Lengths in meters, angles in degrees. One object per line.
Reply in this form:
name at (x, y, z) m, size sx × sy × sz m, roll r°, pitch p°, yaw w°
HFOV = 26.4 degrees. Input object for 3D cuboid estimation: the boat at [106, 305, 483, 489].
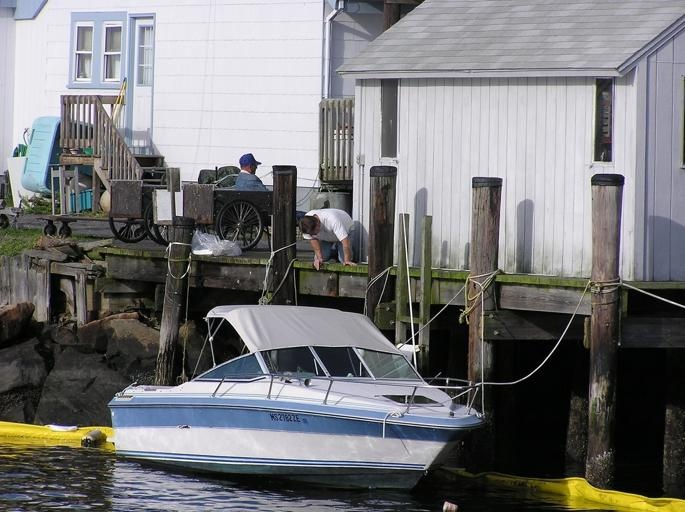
boat at (-0.656, 2.173, 22.673) m, size 5.282 × 2.587 × 1.176 m, roll 3°, pitch 4°, yaw 13°

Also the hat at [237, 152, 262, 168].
hat at (-1.659, -1.697, 26.816) m, size 0.243 × 0.244 × 0.408 m, roll 6°, pitch 12°, yaw 37°

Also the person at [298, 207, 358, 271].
person at (-0.239, -0.308, 24.877) m, size 0.766 × 1.156 × 0.802 m, roll -1°, pitch 11°, yaw -40°
